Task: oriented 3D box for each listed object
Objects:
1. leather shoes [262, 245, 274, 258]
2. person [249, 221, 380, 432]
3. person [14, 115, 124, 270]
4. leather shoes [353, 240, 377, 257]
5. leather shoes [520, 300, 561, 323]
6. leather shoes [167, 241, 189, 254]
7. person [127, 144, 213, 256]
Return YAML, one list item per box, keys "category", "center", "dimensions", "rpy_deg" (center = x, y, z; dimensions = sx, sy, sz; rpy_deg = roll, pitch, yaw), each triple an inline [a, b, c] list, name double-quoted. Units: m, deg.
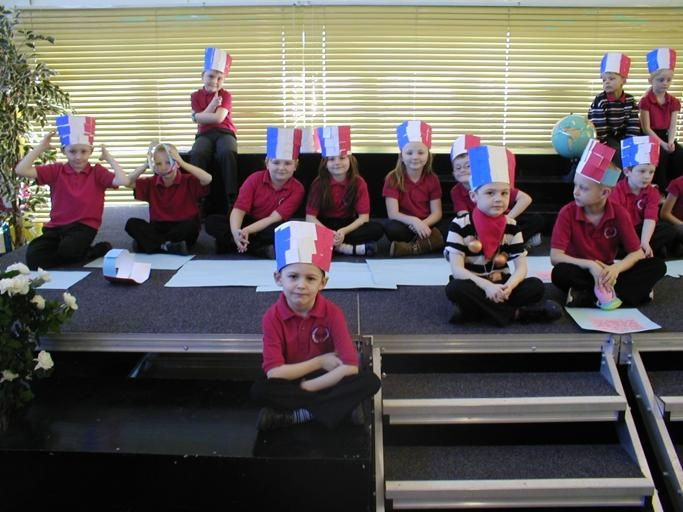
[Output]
- category: "leather shoes"
  center: [-0.466, -0.026, 3.695]
  dimensions: [0.040, 0.082, 0.116]
  rpy_deg: [0, -26, -21]
- category: "person"
  center: [-0.092, 0.259, 2.227]
  dimensions: [0.481, 0.756, 0.354]
  rpy_deg: [0, 15, 2]
- category: "person"
  center: [-1.683, -0.413, 3.605]
  dimensions: [0.630, 0.911, 0.345]
  rpy_deg: [-8, 16, -27]
- category: "leather shoes"
  center: [0.167, -0.042, 3.759]
  dimensions: [0.198, 0.143, 0.069]
  rpy_deg: [4, 5, 22]
- category: "leather shoes"
  center: [0.964, 0.275, 2.769]
  dimensions: [0.164, 0.066, 0.102]
  rpy_deg: [-5, 12, 0]
- category: "leather shoes"
  center: [-1.081, -0.054, 3.752]
  dimensions: [0.128, 0.080, 0.065]
  rpy_deg: [12, 4, 24]
- category: "person"
  center: [-1.170, -0.396, 3.812]
  dimensions: [0.621, 0.708, 0.526]
  rpy_deg: [-1, 8, -9]
